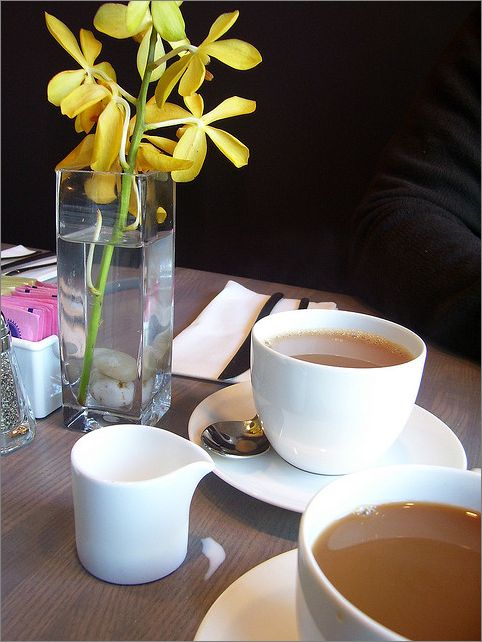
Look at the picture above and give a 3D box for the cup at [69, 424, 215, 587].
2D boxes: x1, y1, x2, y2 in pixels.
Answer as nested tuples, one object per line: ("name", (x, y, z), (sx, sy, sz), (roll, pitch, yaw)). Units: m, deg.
("cup", (-0.054, 0.099, 0.281), (0.076, 0.063, 0.058), (1, 15, -15))
